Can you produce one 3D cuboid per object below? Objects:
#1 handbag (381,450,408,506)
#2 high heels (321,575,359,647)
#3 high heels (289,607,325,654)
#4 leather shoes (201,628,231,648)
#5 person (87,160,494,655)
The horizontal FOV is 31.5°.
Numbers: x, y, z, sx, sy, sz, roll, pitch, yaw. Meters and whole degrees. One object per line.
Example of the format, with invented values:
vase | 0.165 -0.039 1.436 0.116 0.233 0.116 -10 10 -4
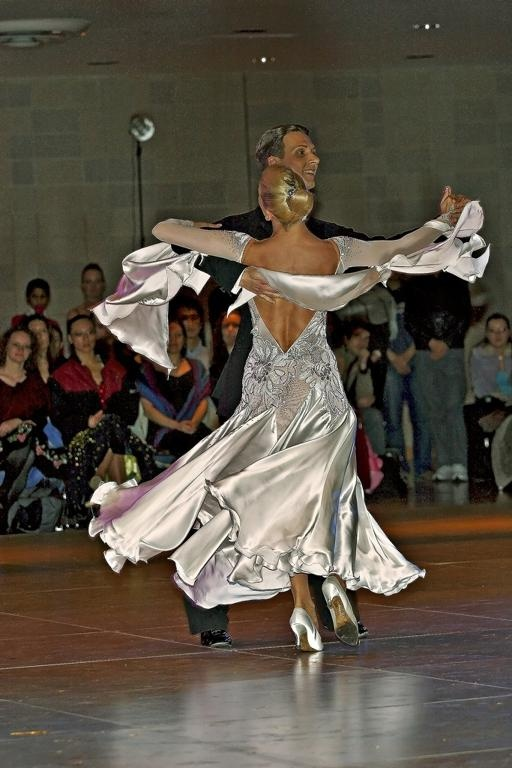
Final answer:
handbag | 1.208 0.803 7.843 0.334 0.356 0.126 6 -7 0
high heels | 0.256 0.679 2.738 0.087 0.218 0.075 -24 -3 23
high heels | 0.153 0.750 2.731 0.065 0.084 0.176 -18 -8 4
leather shoes | -0.126 0.829 2.930 0.100 0.048 0.123 -3 1 -4
person | 0.068 0.044 3.067 1.347 1.586 0.768 -3 2 19
